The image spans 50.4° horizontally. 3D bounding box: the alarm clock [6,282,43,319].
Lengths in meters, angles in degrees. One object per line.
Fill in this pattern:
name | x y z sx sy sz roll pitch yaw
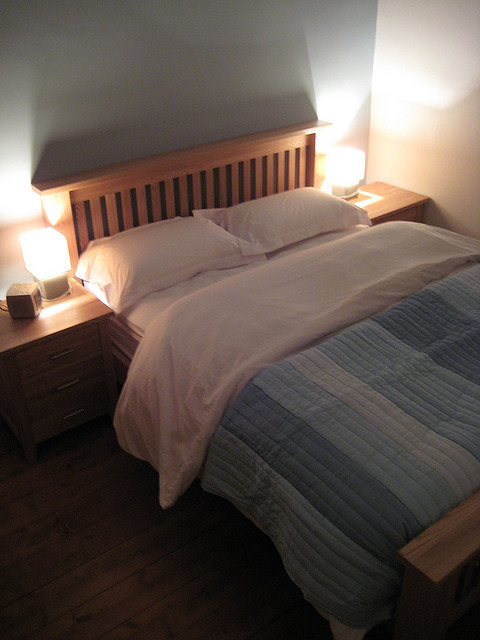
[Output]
alarm clock | -0.816 -0.086 2.025 0.145 0.136 0.135 -1 66 -2
